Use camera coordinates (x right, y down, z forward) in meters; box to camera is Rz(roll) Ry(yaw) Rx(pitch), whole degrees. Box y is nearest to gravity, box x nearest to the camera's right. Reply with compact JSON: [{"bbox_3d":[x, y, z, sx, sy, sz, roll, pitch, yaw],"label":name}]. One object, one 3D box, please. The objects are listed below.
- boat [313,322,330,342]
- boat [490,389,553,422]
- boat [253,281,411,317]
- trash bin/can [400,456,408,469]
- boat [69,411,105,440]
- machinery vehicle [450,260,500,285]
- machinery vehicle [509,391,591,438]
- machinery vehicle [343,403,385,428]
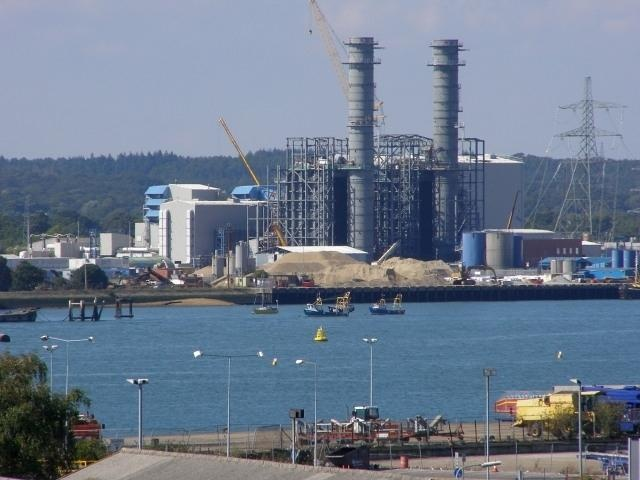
[{"bbox_3d":[0.074,7.482,162.448,1.094,1.116,1.044,2,-5,-10],"label":"boat"},{"bbox_3d":[12.469,10.732,133.335,2.182,1.068,2.152,0,-3,-12],"label":"boat"},{"bbox_3d":[0.677,6.043,196.311,14.596,2.944,18.872,-1,-3,1],"label":"boat"},{"bbox_3d":[4.968,13.140,122.127,0.550,0.593,0.545,-1,-9,-4],"label":"trash bin/can"},{"bbox_3d":[-14.416,11.169,123.905,2.142,1.244,3.531,0,4,-2],"label":"boat"},{"bbox_3d":[15.199,3.685,208.473,7.123,2.769,1.959,4,-6,-45],"label":"machinery vehicle"},{"bbox_3d":[14.694,10.896,129.198,4.900,2.453,3.263,0,-3,16],"label":"machinery vehicle"},{"bbox_3d":[2.657,10.984,128.237,1.127,1.071,1.761,-5,-10,44],"label":"machinery vehicle"}]
